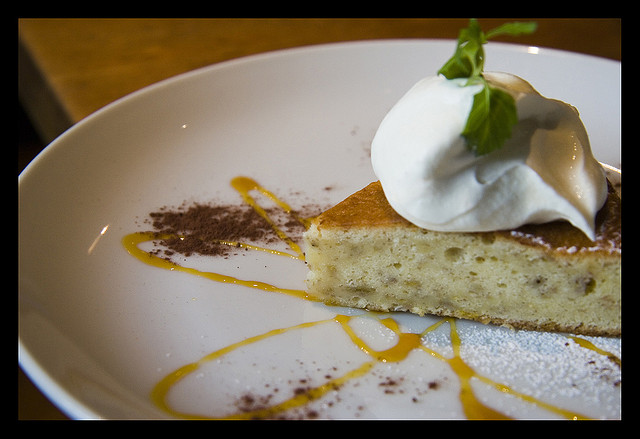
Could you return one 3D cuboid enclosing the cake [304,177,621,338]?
[{"bbox_3d":[0.714,0.314,2.768,1.242,0.896,0.833,3,104,22],"label":"cake"}]
